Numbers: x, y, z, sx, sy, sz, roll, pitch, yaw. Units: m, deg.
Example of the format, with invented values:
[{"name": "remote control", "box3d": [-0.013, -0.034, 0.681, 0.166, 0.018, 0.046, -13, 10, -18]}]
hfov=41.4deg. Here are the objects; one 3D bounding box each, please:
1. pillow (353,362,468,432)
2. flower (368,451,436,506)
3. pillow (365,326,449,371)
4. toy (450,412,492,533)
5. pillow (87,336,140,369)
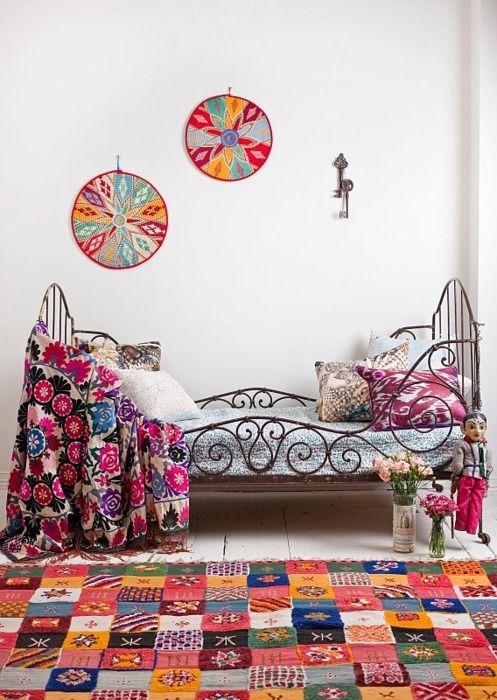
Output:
[{"name": "pillow", "box3d": [0.729, 0.208, 2.824, 0.337, 0.284, 0.095, -5, -46, 4]}, {"name": "flower", "box3d": [0.610, 0.504, 2.637, 0.233, 0.200, 0.212, -1, 0, -3]}, {"name": "pillow", "box3d": [0.792, -0.007, 3.304, 0.244, 0.175, 0.082, 3, -19, 26]}, {"name": "toy", "box3d": [0.880, 0.496, 2.606, 0.155, 0.429, 0.322, -5, -27, 5]}, {"name": "pillow", "box3d": [-0.645, 0.014, 3.144, 0.180, 0.152, 0.043, 13, -58, -50]}]
